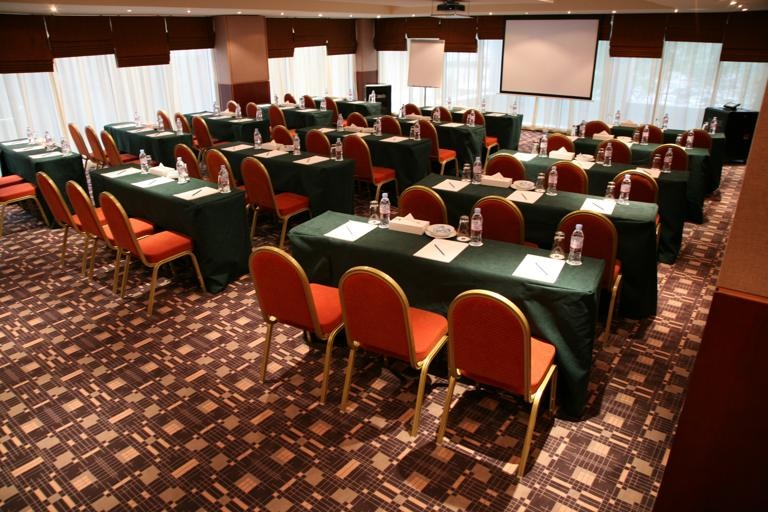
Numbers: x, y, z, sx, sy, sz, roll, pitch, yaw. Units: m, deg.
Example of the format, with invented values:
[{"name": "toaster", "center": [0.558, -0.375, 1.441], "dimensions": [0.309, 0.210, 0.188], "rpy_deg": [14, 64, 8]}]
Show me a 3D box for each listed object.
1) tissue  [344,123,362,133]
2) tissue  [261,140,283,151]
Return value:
[{"name": "tissue ", "center": [-0.556, -2.474, 9.371], "dimensions": [0.300, 0.136, 0.390], "rpy_deg": [13, 24, 26]}, {"name": "tissue ", "center": [-1.741, -1.762, 7.708], "dimensions": [0.179, 0.118, 0.320], "rpy_deg": [11, 16, 29]}]
